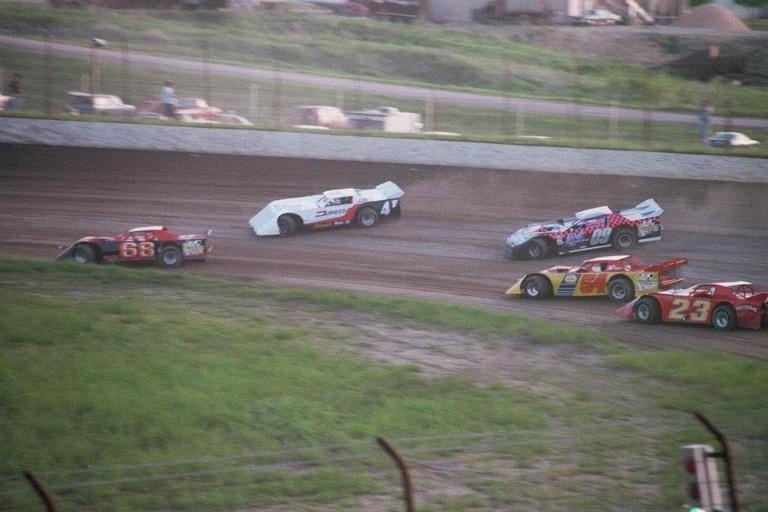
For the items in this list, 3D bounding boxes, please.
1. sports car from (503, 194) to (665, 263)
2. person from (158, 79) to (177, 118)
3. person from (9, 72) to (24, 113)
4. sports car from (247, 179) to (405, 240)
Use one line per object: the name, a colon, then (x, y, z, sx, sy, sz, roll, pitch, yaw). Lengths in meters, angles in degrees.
sports car: (5.096, -0.717, 33.360, 3.544, 0.692, 1.593, -9, 8, 2)
person: (-6.674, -4.954, 40.197, 0.469, 1.161, 0.702, 1, 7, -10)
person: (-11.383, -5.188, 39.971, 0.441, 1.243, 1.227, 0, 6, -15)
sports car: (-1.170, -1.114, 34.988, 4.625, 0.726, 1.659, -7, 0, 17)
